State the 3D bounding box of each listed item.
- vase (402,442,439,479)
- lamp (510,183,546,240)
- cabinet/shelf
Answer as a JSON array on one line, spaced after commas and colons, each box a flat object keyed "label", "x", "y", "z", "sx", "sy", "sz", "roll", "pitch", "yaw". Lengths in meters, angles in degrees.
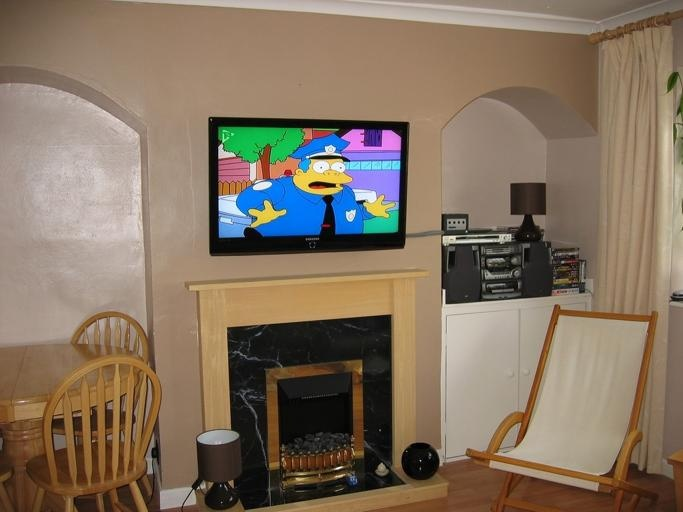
[{"label": "vase", "x": 0.539, "y": 1.341, "z": 3.711, "sx": 0.215, "sy": 0.173, "sz": 0.235, "roll": 4, "pitch": 8, "yaw": 42}, {"label": "lamp", "x": 1.470, "y": -0.353, "z": 4.371, "sx": 0.260, "sy": 0.457, "sz": 0.231, "roll": -1, "pitch": 5, "yaw": 2}, {"label": "cabinet/shelf", "x": 1.208, "y": 0.876, "z": 3.906, "sx": 1.165, "sy": 1.138, "sz": 0.461, "roll": -2, "pitch": 4, "yaw": -19}]
